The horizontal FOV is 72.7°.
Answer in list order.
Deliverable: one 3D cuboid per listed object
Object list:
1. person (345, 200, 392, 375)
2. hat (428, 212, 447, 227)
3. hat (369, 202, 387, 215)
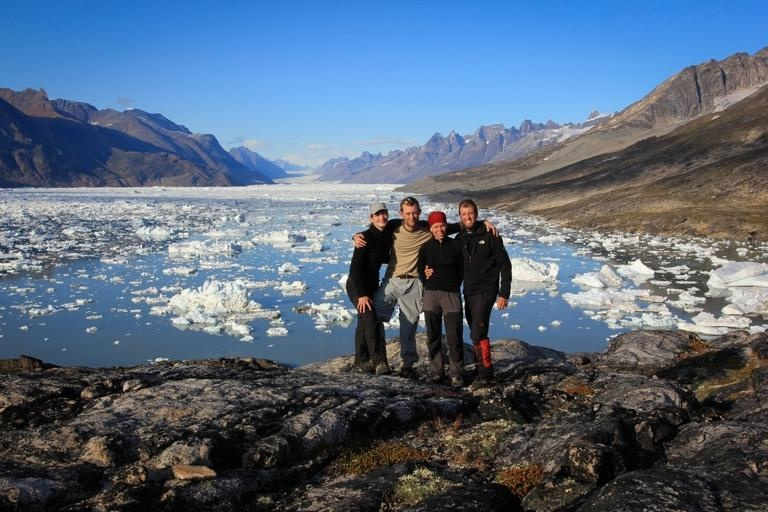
[{"bbox_3d":[-0.179,0.527,8.604,0.742,2.820,0.745,-9,11,-21],"label":"person"},{"bbox_3d":[0.828,-0.595,8.223,0.275,0.176,0.288,-3,12,4],"label":"hat"},{"bbox_3d":[-0.103,-0.796,8.614,0.263,0.194,0.355,-3,8,0],"label":"hat"}]
